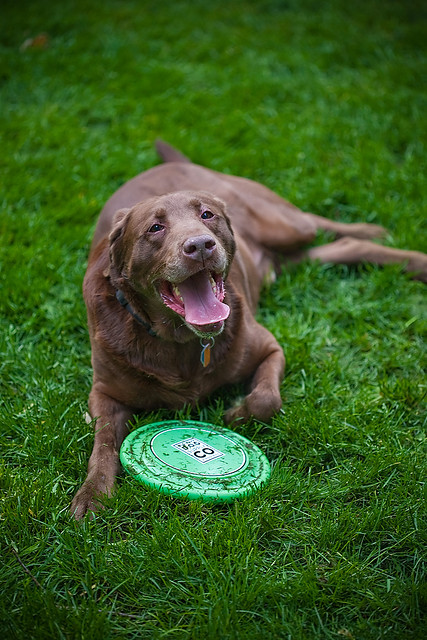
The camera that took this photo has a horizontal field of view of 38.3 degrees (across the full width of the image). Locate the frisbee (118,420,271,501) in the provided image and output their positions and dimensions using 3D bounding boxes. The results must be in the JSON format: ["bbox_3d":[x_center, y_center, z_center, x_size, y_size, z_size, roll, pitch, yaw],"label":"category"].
[{"bbox_3d":[-0.060,0.597,2.724,0.610,0.073,0.655,-7,26,-31],"label":"frisbee"}]

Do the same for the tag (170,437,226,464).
[{"bbox_3d":[-0.068,0.571,2.719,0.160,0.082,0.299,0,12,-5],"label":"tag"}]
